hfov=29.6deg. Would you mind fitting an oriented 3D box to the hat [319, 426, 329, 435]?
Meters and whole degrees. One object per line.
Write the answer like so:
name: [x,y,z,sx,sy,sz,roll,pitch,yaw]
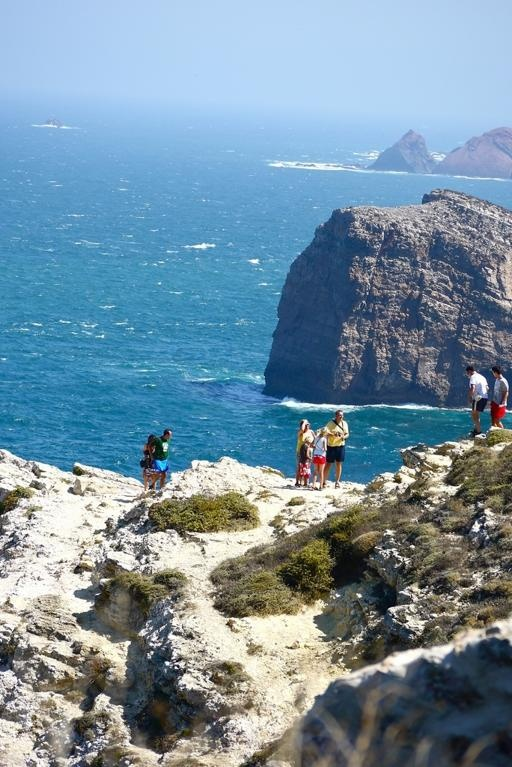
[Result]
hat: [2.052,1.458,29.931,0.215,0.238,0.542,5,11,-2]
